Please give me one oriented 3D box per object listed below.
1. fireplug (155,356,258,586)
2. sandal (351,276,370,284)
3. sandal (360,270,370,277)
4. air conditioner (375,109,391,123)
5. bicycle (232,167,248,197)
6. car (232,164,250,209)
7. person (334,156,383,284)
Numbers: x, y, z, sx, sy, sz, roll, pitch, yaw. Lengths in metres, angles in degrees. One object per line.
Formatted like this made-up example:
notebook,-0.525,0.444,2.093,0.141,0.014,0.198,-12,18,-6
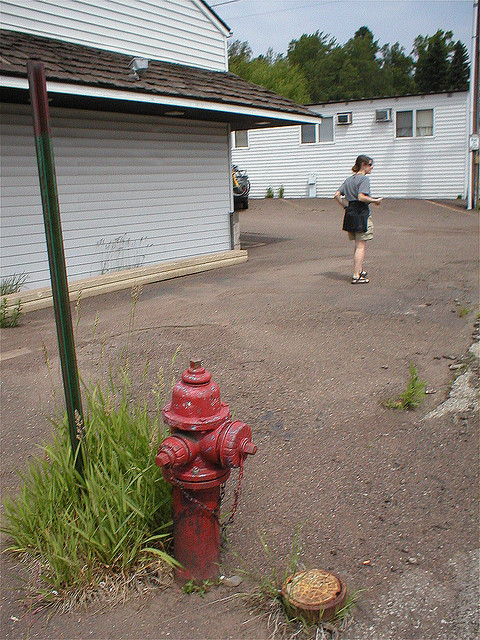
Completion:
fireplug,-0.146,0.665,2.157,0.399,1.016,0.295,-3,15,-9
sandal,1.966,-0.625,8.211,0.248,0.103,0.088,-2,10,5
sandal,2.114,-0.762,8.586,0.129,0.165,0.388,-3,5,11
air conditioner,6.945,-9.969,24.703,0.778,0.619,0.484,4,16,18
bicycle,-0.007,-4.434,16.723,0.704,1.055,0.280,-7,10,-18
car,0.021,-4.335,16.645,0.740,0.717,1.638,0,22,2
person,1.795,-1.477,7.783,0.622,1.977,0.742,2,15,8
